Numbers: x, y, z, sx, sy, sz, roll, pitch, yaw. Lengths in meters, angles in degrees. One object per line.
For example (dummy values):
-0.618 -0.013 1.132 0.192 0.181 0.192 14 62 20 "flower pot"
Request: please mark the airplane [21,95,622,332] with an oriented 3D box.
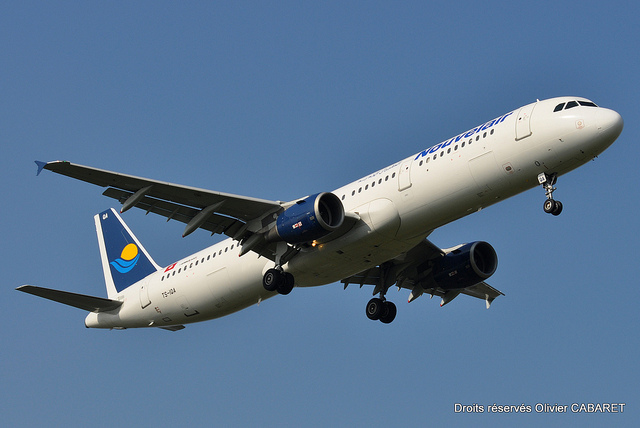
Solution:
-0.229 0.710 35.712 20.762 7.852 15.816 4 7 21 "airplane"
